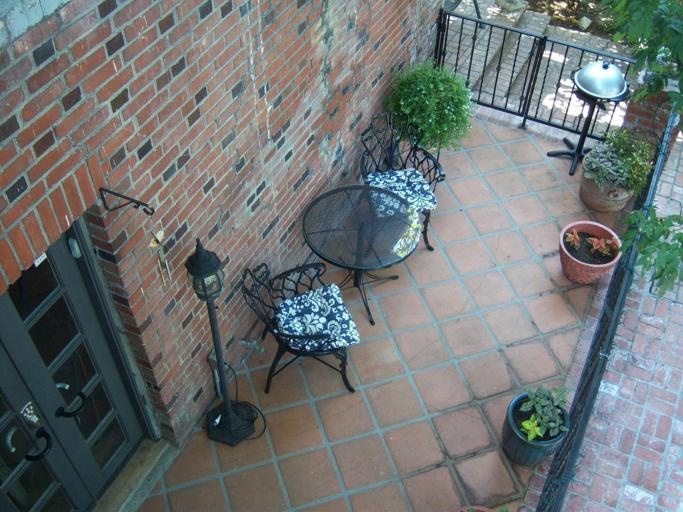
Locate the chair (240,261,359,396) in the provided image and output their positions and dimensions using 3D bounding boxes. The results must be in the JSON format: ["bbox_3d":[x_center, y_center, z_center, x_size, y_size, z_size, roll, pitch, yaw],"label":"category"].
[{"bbox_3d":[-0.430,0.509,5.585,0.955,1.219,1.311,-13,45,-12],"label":"chair"}]

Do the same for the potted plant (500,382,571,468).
[{"bbox_3d":[1.678,1.495,5.114,0.466,0.798,0.470,-12,44,-11],"label":"potted plant"}]
